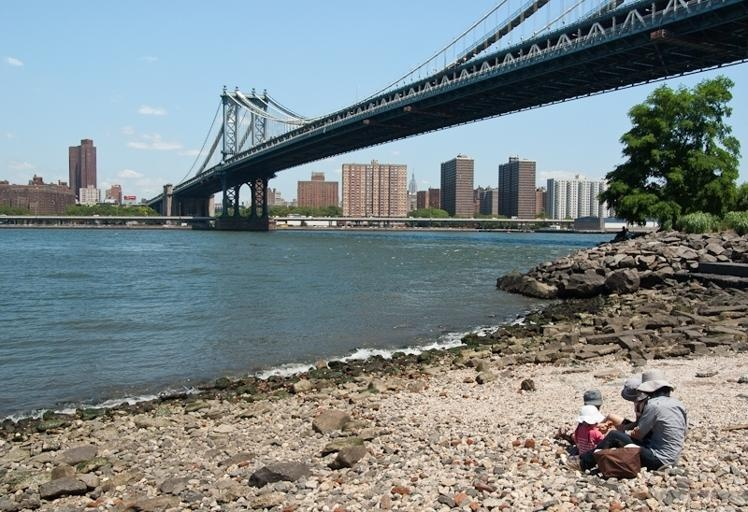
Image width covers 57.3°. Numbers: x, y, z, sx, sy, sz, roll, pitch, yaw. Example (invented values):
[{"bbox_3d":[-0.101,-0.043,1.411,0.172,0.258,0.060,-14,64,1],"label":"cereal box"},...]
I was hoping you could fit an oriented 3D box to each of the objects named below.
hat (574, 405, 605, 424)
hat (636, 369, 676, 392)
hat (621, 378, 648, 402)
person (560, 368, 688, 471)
[{"bbox_3d":[4.033,2.970,12.793,0.627,0.262,0.748,0,5,24],"label":"hat"},{"bbox_3d":[4.961,2.218,12.106,0.537,0.253,0.434,-6,-4,-3],"label":"hat"},{"bbox_3d":[4.683,2.459,12.329,0.448,0.187,0.426,-16,13,-17],"label":"hat"},{"bbox_3d":[4.781,2.912,11.995,1.171,1.562,0.595,-1,8,-8],"label":"person"}]
